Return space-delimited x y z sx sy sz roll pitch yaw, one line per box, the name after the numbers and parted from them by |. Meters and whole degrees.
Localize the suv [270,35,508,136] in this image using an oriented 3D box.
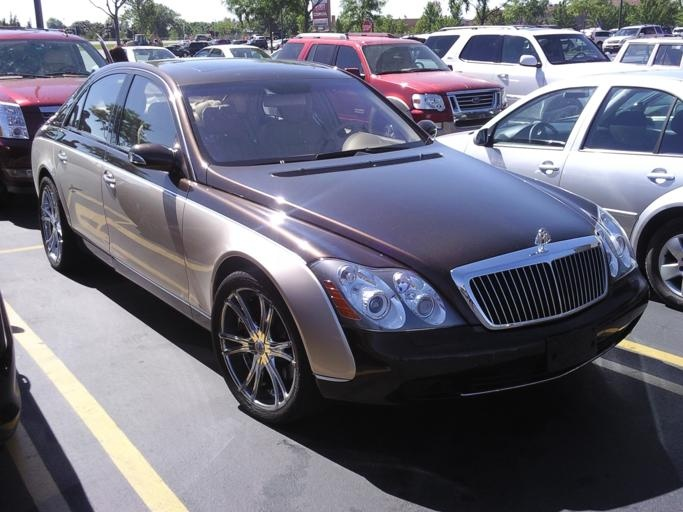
0.828 -3.463 11.536 5.244 2.334 2.735 26 36 37 | suv

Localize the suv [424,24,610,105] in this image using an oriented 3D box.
4.288 -5.233 12.915 4.251 1.919 2.081 14 27 34 | suv
